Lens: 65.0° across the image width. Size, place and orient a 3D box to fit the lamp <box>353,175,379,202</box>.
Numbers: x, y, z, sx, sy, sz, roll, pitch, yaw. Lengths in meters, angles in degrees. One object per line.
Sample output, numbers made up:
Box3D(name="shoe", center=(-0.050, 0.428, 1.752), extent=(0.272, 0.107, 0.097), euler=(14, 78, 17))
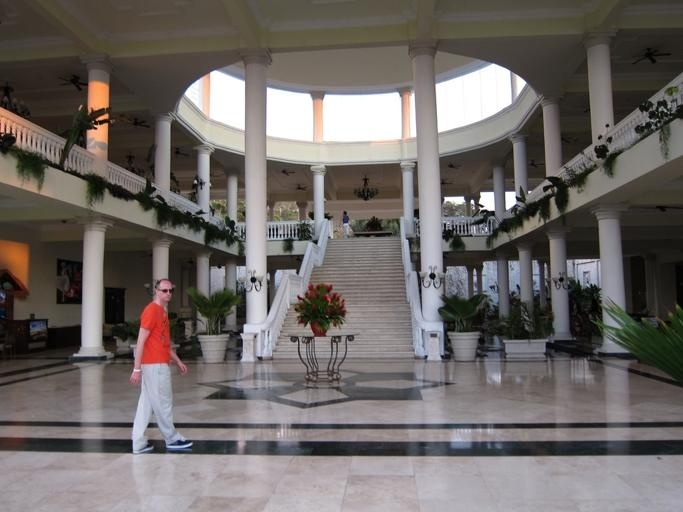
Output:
Box3D(name="lamp", center=(1.319, -3.774, 29.467), extent=(1.379, 2.285, 1.464), euler=(2, -1, 5))

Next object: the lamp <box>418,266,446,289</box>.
Box3D(name="lamp", center=(2.581, 0.611, 15.212), extent=(0.657, 0.693, 0.226), euler=(0, -15, 2))

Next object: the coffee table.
Box3D(name="coffee table", center=(-0.441, 2.397, 12.490), extent=(1.376, 0.954, 1.405), euler=(0, -8, -4))

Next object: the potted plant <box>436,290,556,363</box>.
Box3D(name="potted plant", center=(4.182, 2.025, 14.738), extent=(2.558, 1.578, 2.129), euler=(1, -4, 1))

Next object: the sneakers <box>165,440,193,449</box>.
Box3D(name="sneakers", center=(-1.972, 2.309, 6.516), extent=(0.247, 0.108, 0.129), euler=(1, -6, -1))

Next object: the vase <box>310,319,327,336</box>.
Box3D(name="vase", center=(-0.450, 1.416, 10.546), extent=(0.286, 0.254, 0.303), euler=(1, -13, -1))

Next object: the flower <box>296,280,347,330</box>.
Box3D(name="flower", center=(-0.366, 1.059, 10.963), extent=(1.085, 1.027, 1.104), euler=(-2, -12, 40))

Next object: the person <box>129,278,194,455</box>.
Box3D(name="person", center=(-2.209, 1.319, 6.402), extent=(0.757, 2.055, 0.532), euler=(7, -10, -42))

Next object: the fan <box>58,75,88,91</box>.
Box3D(name="fan", center=(-8.427, -5.523, 17.018), extent=(0.571, 0.167, 0.520), euler=(-9, -8, 24))
